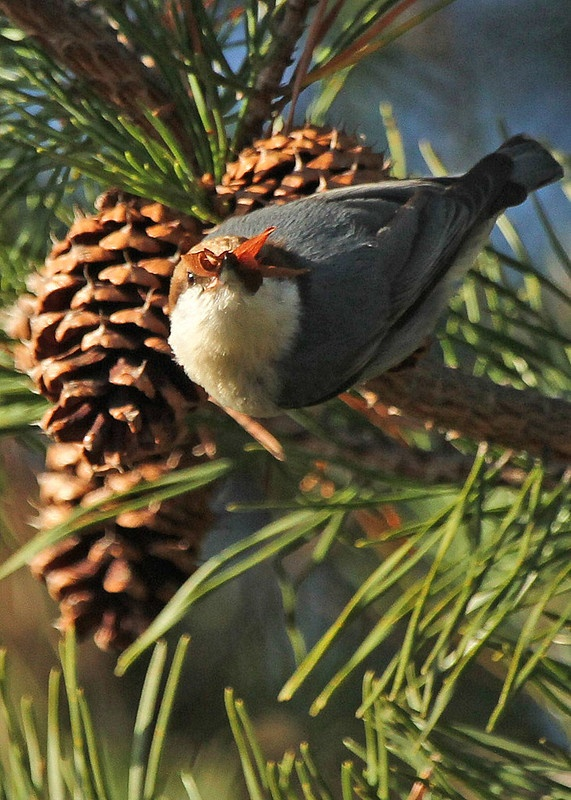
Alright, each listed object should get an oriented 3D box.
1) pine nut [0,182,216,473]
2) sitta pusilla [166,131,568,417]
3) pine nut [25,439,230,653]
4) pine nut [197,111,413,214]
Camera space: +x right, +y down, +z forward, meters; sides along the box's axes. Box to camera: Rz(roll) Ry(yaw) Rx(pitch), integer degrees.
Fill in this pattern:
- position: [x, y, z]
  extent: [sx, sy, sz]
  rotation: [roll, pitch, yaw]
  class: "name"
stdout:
- position: [-0.206, -0.092, 1.098]
  extent: [0.258, 0.329, 0.283]
  rotation: [12, 14, -26]
  class: "pine nut"
- position: [0.113, -0.175, 1.290]
  extent: [0.247, 0.570, 0.362]
  rotation: [63, 0, -15]
  class: "sitta pusilla"
- position: [-0.211, 0.193, 1.143]
  extent: [0.239, 0.253, 0.134]
  rotation: [12, 14, 19]
  class: "pine nut"
- position: [0.028, -0.312, 1.209]
  extent: [0.218, 0.156, 0.167]
  rotation: [15, 13, -3]
  class: "pine nut"
